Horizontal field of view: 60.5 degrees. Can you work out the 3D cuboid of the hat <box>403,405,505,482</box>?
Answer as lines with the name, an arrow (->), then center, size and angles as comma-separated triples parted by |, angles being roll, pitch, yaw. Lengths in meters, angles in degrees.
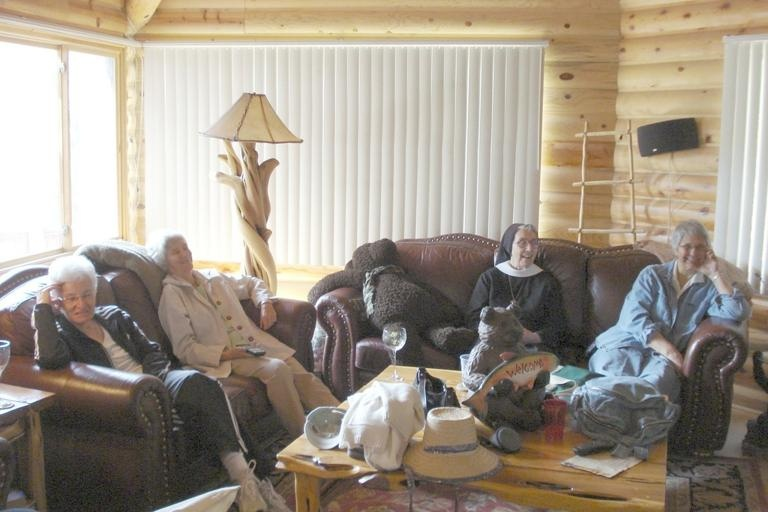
hat -> 0.311, 0.871, 3.128 | 0.367, 0.149, 0.336 | 1, -5, 3

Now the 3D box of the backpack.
backpack -> 1.258, 0.845, 3.440 | 0.438, 0.137, 0.395 | -13, 23, -8

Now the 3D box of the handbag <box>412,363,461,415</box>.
handbag -> 0.269, 0.698, 3.426 | 0.129, 0.124, 0.322 | -4, 8, -15

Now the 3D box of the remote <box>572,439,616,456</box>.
remote -> 1.039, 0.956, 3.311 | 0.227, 0.069, 0.065 | -8, -22, -12

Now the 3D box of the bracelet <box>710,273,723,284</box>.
bracelet -> 2.104, 0.147, 4.170 | 0.050, 0.044, 0.052 | -14, -10, 26

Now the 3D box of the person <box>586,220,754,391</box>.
person -> 1.741, 0.285, 4.149 | 0.925, 0.957, 0.580 | -5, 8, -16
